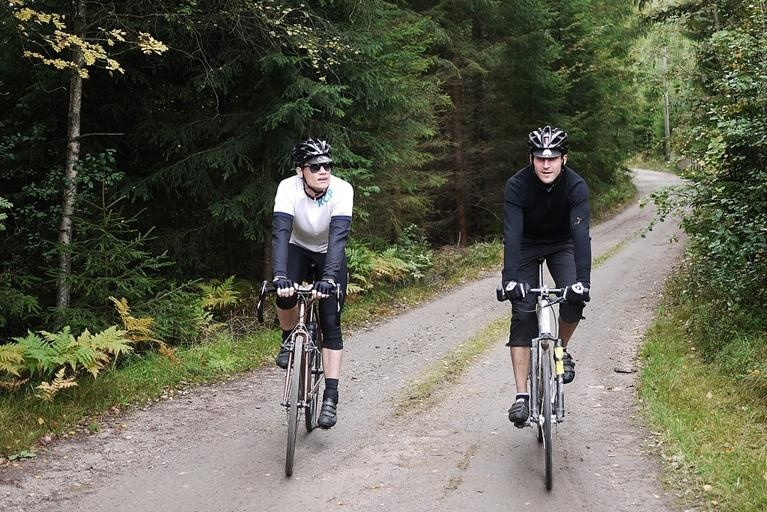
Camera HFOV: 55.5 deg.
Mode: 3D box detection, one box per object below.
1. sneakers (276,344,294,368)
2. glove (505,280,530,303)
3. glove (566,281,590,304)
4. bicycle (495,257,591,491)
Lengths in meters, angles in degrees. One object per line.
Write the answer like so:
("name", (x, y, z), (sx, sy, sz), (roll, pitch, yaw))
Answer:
("sneakers", (-1.337, 1.369, 9.948), (0.213, 0.259, 0.365), (3, -17, 0))
("glove", (1.759, 0.465, 9.530), (0.380, 0.288, 0.259), (-5, 5, -10))
("glove", (2.501, 0.499, 9.393), (0.346, 0.291, 0.273), (-5, 5, -11))
("bicycle", (2.160, 1.523, 9.719), (0.783, 2.797, 1.375), (-3, 4, 11))
